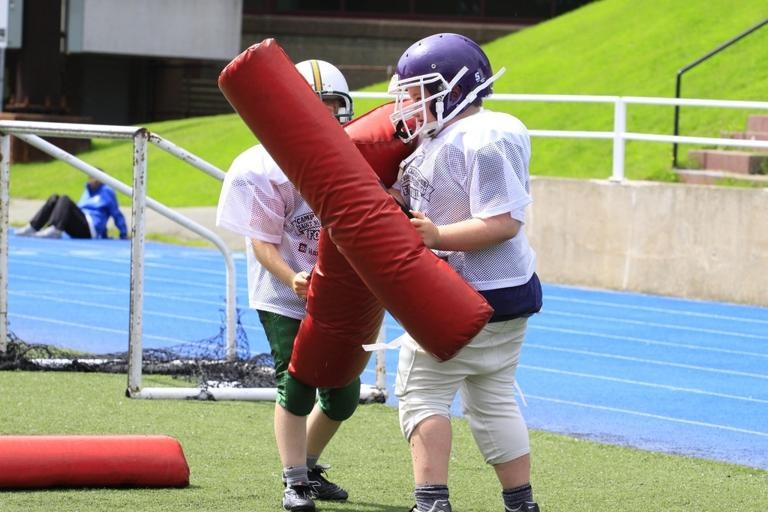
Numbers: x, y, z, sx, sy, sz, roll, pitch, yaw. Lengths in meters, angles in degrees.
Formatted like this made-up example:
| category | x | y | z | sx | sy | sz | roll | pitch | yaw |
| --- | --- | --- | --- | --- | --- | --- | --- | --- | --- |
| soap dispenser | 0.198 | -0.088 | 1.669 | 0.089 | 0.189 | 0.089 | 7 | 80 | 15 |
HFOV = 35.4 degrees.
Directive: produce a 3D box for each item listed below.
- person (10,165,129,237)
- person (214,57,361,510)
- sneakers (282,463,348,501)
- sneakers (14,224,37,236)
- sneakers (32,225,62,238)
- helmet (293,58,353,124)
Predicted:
| category | x | y | z | sx | sy | sz | roll | pitch | yaw |
| --- | --- | --- | --- | --- | --- | --- | --- | --- | --- |
| person | -4.758 | -0.706 | 18.624 | 1.931 | 1.057 | 1.447 | 4 | -4 | 27 |
| person | -0.699 | 0.175 | 9.090 | 1.073 | 2.987 | 0.633 | 5 | 1 | 29 |
| sneakers | -0.464 | 1.708 | 9.089 | 0.609 | 0.283 | 0.214 | -10 | -10 | 37 |
| sneakers | -5.630 | -0.384 | 18.733 | 0.445 | 0.190 | 0.152 | 2 | 3 | 20 |
| sneakers | -5.141 | -0.362 | 18.498 | 0.468 | 0.195 | 0.171 | 5 | -1 | 6 |
| helmet | -0.493 | -1.324 | 9.354 | 0.488 | 0.535 | 0.614 | -12 | 15 | -8 |
